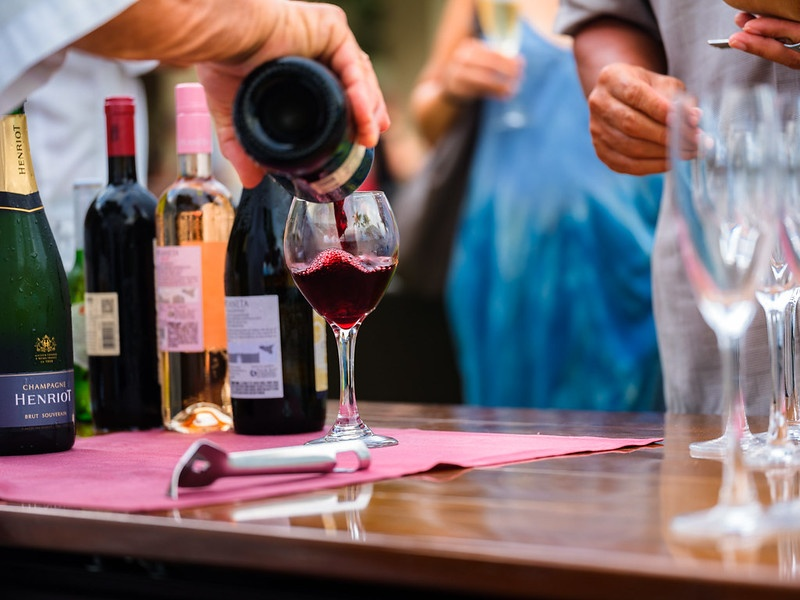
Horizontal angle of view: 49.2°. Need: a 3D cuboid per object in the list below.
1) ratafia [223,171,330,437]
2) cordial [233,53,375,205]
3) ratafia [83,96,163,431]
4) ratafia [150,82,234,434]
[{"bbox_3d":[-0.150,0.004,1.144,0.122,0.333,0.167,-2,-2,17],"label":"ratafia"},{"bbox_3d":[-0.096,-0.165,0.847,0.092,0.130,0.126,-6,8,-23],"label":"cordial"},{"bbox_3d":[-0.375,-0.033,1.229,0.088,0.493,0.088,8,12,38],"label":"ratafia"},{"bbox_3d":[-0.283,-0.058,1.205,0.120,0.451,0.107,-3,9,-32],"label":"ratafia"}]
